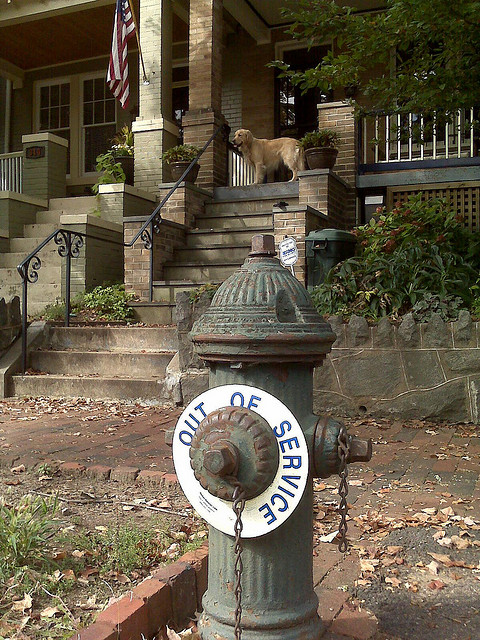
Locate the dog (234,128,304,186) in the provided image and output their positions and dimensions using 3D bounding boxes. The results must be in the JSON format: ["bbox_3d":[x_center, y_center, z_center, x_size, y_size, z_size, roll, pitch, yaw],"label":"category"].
[{"bbox_3d":[0.432,-2.232,9.949,0.995,0.737,0.379,0,1,27],"label":"dog"}]

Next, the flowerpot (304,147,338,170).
[{"bbox_3d":[0.967,-1.922,8.717,0.354,0.267,0.244,0,1,22],"label":"flowerpot"}]

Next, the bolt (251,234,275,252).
[{"bbox_3d":[0.076,-0.245,2.382,0.056,0.057,0.065,-2,0,23],"label":"bolt"}]

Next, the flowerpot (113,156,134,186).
[{"bbox_3d":[-1.714,-2.274,11.134,0.387,0.403,0.389,-4,7,-22],"label":"flowerpot"}]

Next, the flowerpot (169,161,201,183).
[{"bbox_3d":[-0.684,-1.953,9.651,0.402,0.315,0.583,-1,1,-16],"label":"flowerpot"}]
